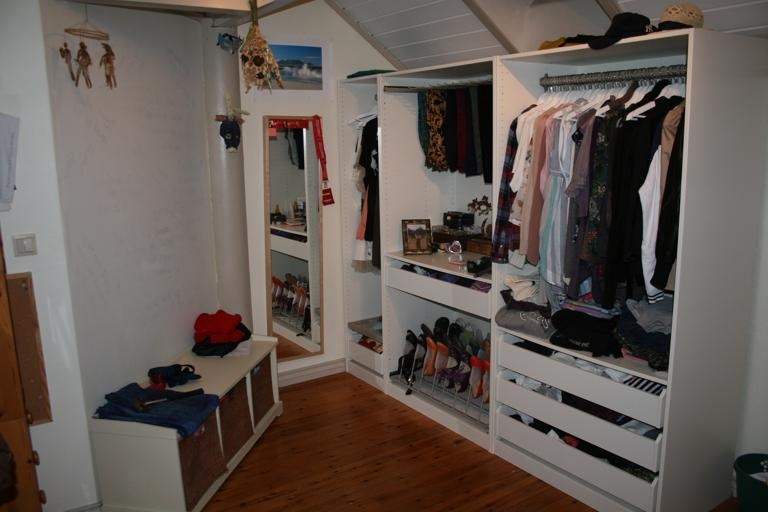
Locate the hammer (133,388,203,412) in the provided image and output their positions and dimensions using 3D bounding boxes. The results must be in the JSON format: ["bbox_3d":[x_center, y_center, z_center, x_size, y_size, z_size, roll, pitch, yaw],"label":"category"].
[{"bbox_3d":[-1.439,0.947,3.747,0.437,0.062,0.146,-4,10,-24],"label":"hammer"}]
